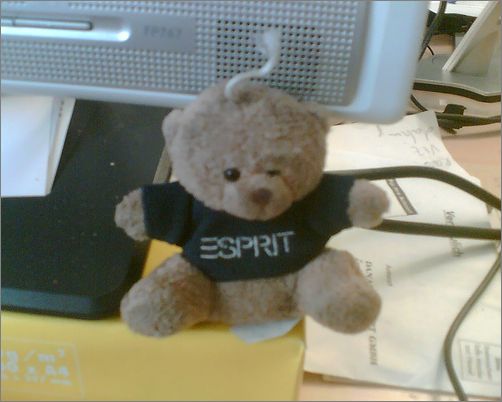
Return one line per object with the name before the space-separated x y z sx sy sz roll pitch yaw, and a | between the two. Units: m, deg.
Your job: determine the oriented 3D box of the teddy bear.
teddy bear | -0.003 0.011 0.637 0.288 0.315 0.169 -2 27 1
